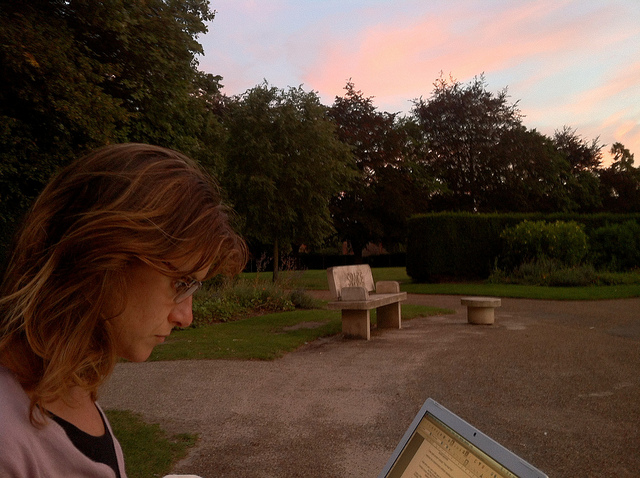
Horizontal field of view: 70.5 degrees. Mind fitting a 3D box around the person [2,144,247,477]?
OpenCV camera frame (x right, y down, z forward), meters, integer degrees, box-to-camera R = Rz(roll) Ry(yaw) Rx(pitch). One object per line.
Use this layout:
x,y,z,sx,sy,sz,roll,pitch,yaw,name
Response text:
-0.570,0.191,1.784,0.761,1.214,0.795,3,1,-12,person
